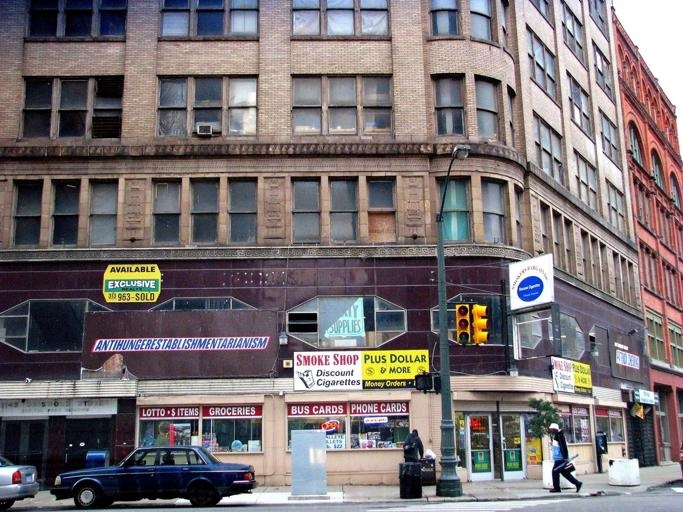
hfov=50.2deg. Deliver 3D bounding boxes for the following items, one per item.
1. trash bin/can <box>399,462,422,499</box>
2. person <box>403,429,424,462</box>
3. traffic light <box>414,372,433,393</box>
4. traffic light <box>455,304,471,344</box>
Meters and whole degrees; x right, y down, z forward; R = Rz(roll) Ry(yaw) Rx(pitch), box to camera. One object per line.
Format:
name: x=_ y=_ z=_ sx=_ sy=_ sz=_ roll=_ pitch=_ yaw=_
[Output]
trash bin/can: x=2.479 y=8.194 z=26.834 sx=1.053 sy=1.260 sz=1.089 roll=-4 pitch=-7 yaw=22
person: x=2.888 y=7.572 z=29.194 sx=0.644 sy=1.296 sz=1.720 roll=-5 pitch=-17 yaw=11
traffic light: x=3.128 y=4.715 z=27.108 sx=0.732 sy=1.052 sz=0.690 roll=-1 pitch=-14 yaw=10
traffic light: x=4.504 y=2.470 z=26.599 sx=0.518 sy=1.445 sz=0.620 roll=-5 pitch=-17 yaw=10
